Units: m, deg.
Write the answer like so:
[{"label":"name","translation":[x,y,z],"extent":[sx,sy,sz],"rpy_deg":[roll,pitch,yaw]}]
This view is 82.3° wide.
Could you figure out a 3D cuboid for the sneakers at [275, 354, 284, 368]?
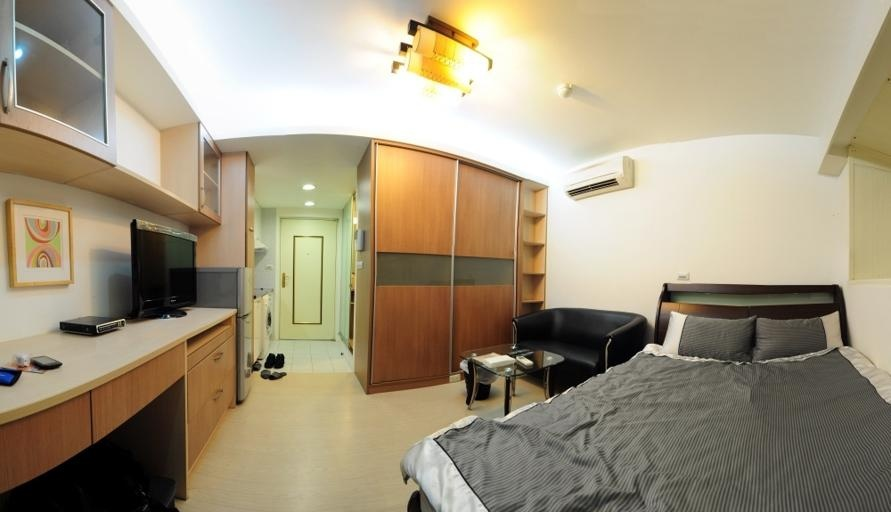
[{"label":"sneakers","translation":[-2.050,1.294,6.334],"extent":[0.106,0.129,0.329],"rpy_deg":[0,-3,-18]}]

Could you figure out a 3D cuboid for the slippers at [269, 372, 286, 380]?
[{"label":"slippers","translation":[-1.931,1.374,5.889],"extent":[0.153,0.055,0.202],"rpy_deg":[-1,-3,3]}]

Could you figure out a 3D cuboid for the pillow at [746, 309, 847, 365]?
[{"label":"pillow","translation":[3.271,0.769,4.730],"extent":[0.535,0.308,0.129],"rpy_deg":[-2,-29,14]}]

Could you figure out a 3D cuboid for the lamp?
[{"label":"lamp","translation":[-0.012,-1.822,4.738],"extent":[0.661,0.222,0.643],"rpy_deg":[17,-30,-30]}]

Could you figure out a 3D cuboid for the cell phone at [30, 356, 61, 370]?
[{"label":"cell phone","translation":[-2.928,0.781,3.741],"extent":[0.235,0.095,0.097],"rpy_deg":[-2,-3,18]}]
